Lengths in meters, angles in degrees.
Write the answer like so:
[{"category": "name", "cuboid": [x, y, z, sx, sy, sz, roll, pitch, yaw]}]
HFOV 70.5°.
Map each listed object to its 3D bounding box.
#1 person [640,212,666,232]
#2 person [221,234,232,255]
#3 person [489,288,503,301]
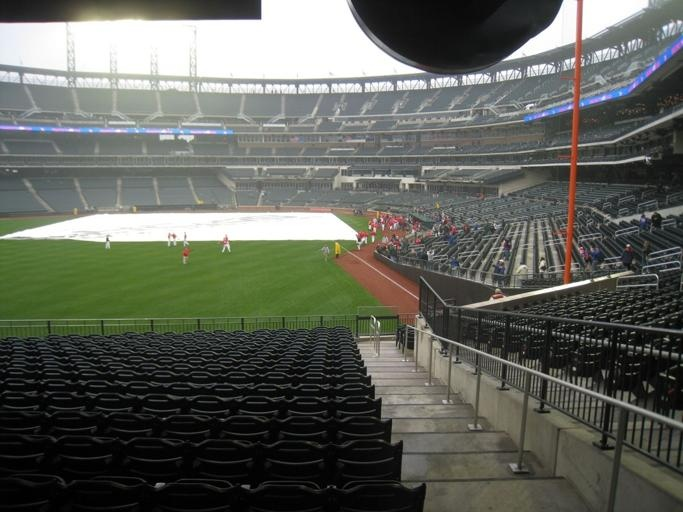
[{"category": "person", "cuboid": [14.528, -1.586, 22.540, 0.672, 0.800, 1.424, 1, 6, 14]}, {"category": "person", "cuboid": [-8.430, -1.014, 35.048, 0.671, 1.254, 2.533, -2, 11, -12]}, {"category": "person", "cuboid": [5.067, 1.256, 15.876, 0.658, 0.284, 0.840, 3, 3, 21]}]
